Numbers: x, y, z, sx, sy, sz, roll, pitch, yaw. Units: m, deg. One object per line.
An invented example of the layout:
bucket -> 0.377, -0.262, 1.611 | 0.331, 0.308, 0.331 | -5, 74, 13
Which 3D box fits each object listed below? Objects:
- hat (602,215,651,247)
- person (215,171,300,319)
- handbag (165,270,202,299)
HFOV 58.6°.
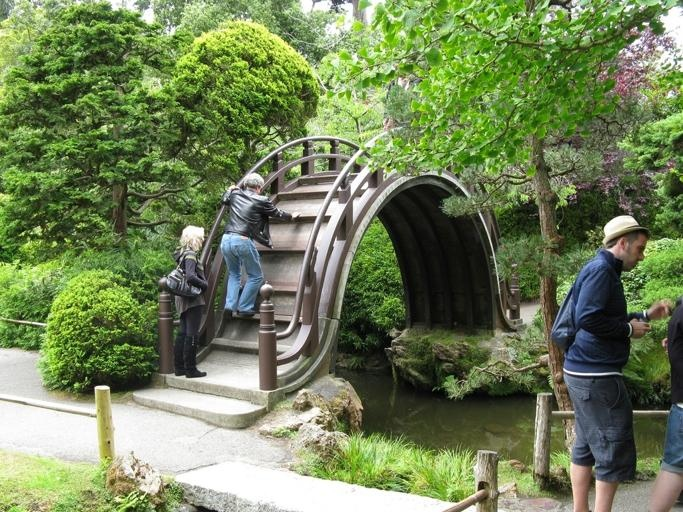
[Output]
hat -> 2.434, -0.179, 5.216 | 0.306, 0.125, 0.274 | -20, 0, 11
person -> -1.320, -0.172, 8.837 | 0.826, 2.072, 0.498 | -2, 2, -7
handbag -> -2.078, 0.380, 7.901 | 0.424, 0.183, 0.289 | 31, -10, -36
